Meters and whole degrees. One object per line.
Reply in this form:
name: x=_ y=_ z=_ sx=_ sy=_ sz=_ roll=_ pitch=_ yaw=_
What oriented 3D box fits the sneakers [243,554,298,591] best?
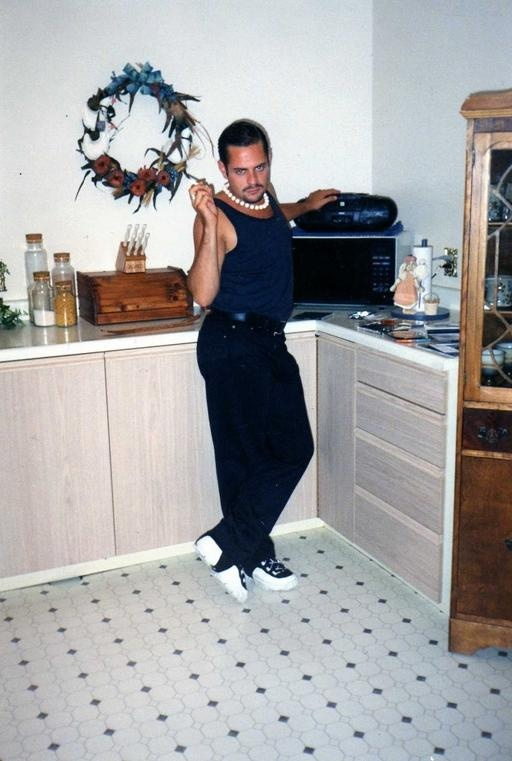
sneakers: x=0.045 y=0.605 z=2.070 sx=0.158 sy=0.072 sz=0.077 roll=1 pitch=3 yaw=39

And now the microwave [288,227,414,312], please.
microwave: x=0.324 y=-0.404 z=2.350 sx=0.512 sy=0.294 sz=0.279 roll=2 pitch=17 yaw=8

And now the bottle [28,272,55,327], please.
bottle: x=-0.714 y=-0.270 z=2.167 sx=0.078 sy=0.183 sz=0.123 roll=-6 pitch=11 yaw=-18

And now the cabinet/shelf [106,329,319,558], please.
cabinet/shelf: x=-0.168 y=0.184 z=2.033 sx=0.779 sy=0.662 sz=0.256 roll=-5 pitch=14 yaw=-20

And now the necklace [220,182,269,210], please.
necklace: x=-0.018 y=-0.516 z=1.837 sx=0.164 sy=0.072 sz=0.066 roll=-8 pitch=11 yaw=-29

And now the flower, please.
flower: x=-0.418 y=-0.875 z=2.377 sx=0.511 sy=0.474 sz=0.148 roll=-6 pitch=20 yaw=-21

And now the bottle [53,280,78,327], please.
bottle: x=-0.647 y=-0.262 z=2.195 sx=0.072 sy=0.156 sz=0.128 roll=-6 pitch=11 yaw=-17

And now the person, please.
person: x=-0.056 y=-0.017 z=1.922 sx=0.303 sy=1.394 sz=0.534 roll=2 pitch=11 yaw=24
